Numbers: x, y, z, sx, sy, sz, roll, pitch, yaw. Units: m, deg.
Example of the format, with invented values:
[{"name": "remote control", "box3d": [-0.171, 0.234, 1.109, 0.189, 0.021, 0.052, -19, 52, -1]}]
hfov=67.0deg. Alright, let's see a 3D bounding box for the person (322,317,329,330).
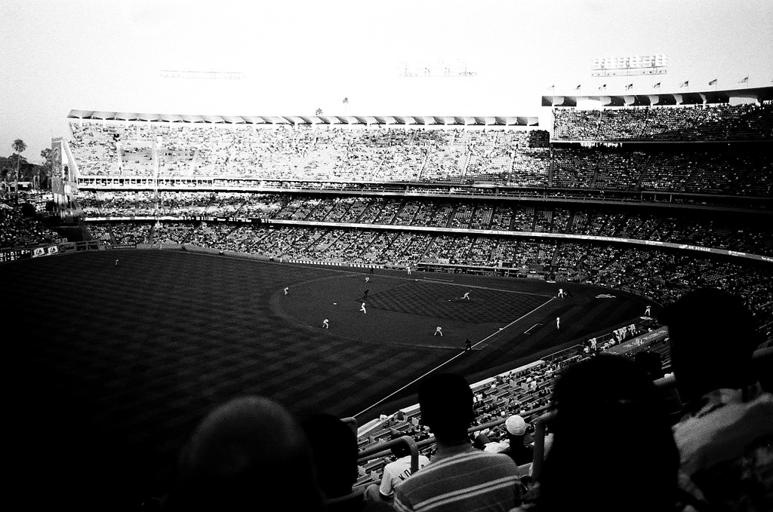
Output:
[{"name": "person", "box3d": [-4.020, 4.551, 38.963, 0.467, 0.673, 0.511, 13, -8, -26]}]
